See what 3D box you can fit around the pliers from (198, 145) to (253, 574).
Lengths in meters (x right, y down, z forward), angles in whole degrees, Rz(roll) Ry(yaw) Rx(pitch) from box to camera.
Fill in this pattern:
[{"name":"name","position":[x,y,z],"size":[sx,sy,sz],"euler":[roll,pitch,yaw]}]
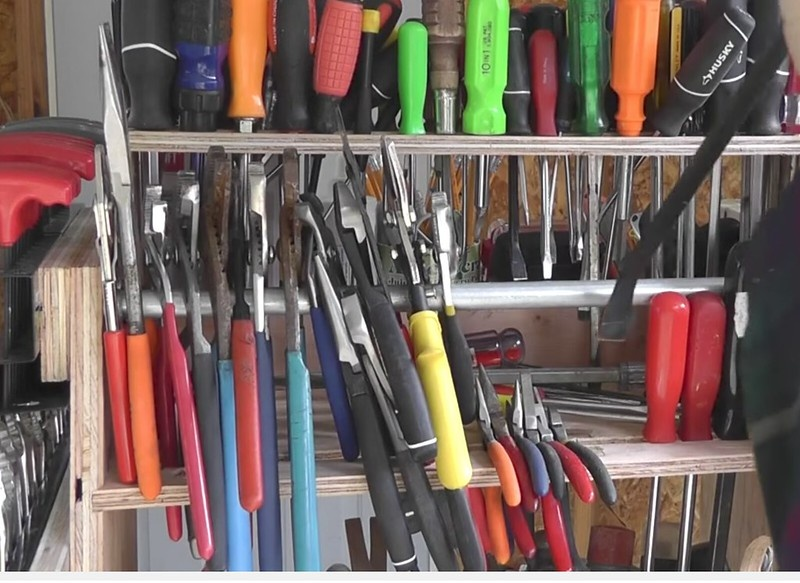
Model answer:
[{"name":"pliers","position":[-0.256,0.112,1.401],"size":[0.037,0.635,0.137],"euler":[-3,1,3]}]

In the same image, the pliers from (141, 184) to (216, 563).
[{"name":"pliers","position":[-0.326,0.098,1.418],"size":[0.039,0.624,0.060],"euler":[-7,1,18]}]

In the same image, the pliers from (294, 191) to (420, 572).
[{"name":"pliers","position":[-0.067,0.108,1.443],"size":[0.064,0.700,0.088],"euler":[-13,-3,40]}]

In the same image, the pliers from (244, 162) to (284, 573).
[{"name":"pliers","position":[-0.199,0.111,1.404],"size":[0.042,0.669,0.066],"euler":[-2,-2,-4]}]

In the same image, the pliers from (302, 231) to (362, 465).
[{"name":"pliers","position":[-0.107,0.096,1.483],"size":[0.049,0.467,0.048],"euler":[-11,-1,-8]}]

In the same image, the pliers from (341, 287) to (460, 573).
[{"name":"pliers","position":[0.004,0.181,1.404],"size":[0.057,0.526,0.054],"euler":[-17,-5,-7]}]

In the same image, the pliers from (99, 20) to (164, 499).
[{"name":"pliers","position":[-0.371,-0.002,1.387],"size":[0.053,0.803,0.049],"euler":[-2,9,-1]}]
